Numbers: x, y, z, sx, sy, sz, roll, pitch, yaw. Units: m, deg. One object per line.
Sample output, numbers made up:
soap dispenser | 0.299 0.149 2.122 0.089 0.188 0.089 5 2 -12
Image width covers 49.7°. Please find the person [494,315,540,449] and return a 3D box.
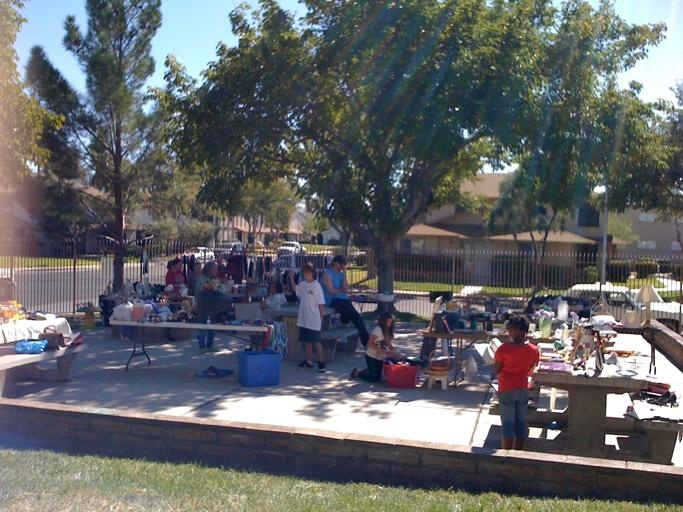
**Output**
person | 2.595 1.892 11.052 0.596 1.970 0.272 0 -2 14

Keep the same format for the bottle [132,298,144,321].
bottle | -4.151 1.125 15.163 0.242 0.397 0.352 1 -3 -18

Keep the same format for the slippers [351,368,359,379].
slippers | 0.265 2.348 14.678 0.121 0.183 0.397 2 2 1

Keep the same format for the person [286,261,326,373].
person | -0.645 1.266 15.213 0.620 2.167 1.428 0 -3 -2

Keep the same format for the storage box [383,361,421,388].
storage box | 1.126 2.278 14.206 0.435 0.400 0.473 1 -1 1

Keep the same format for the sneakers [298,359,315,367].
sneakers | -0.767 2.226 15.381 0.289 0.209 0.147 2 0 31

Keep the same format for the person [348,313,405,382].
person | 0.722 1.793 14.479 0.932 1.371 0.564 0 -2 3

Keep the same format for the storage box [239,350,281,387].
storage box | -1.600 2.164 14.151 0.838 0.768 0.501 2 -4 -30

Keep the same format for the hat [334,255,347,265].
hat | -0.050 0.078 15.812 0.153 0.252 0.222 2 5 14
